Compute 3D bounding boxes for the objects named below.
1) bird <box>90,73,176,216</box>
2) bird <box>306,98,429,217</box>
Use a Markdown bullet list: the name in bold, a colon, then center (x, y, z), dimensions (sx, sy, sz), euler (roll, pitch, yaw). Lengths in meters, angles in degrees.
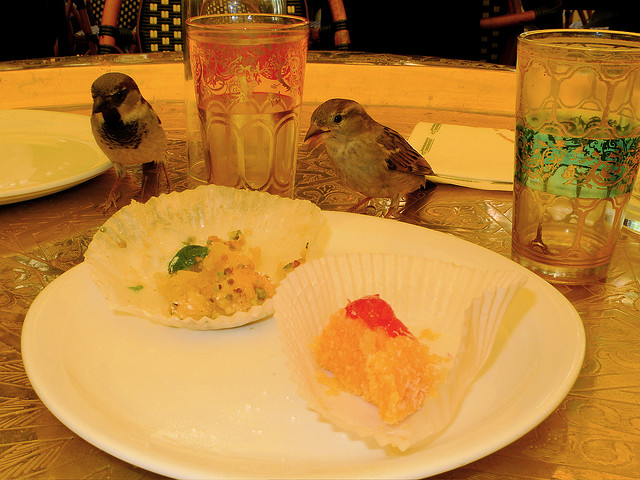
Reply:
- **bird**: center (-0.474, -0.260, 1.206), dimensions (0.195, 0.306, 0.332), euler (0, 19, 0)
- **bird**: center (0.142, -0.231, 1.311), dimensions (0.429, 0.329, 0.222), euler (-18, 18, -36)
